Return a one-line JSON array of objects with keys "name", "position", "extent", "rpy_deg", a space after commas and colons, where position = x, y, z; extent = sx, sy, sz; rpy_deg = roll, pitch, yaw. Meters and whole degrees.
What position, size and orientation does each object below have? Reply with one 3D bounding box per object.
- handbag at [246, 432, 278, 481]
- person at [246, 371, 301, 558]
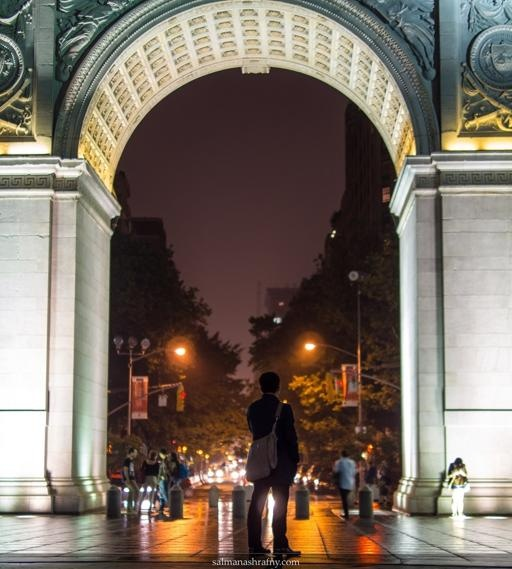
[{"name": "handbag", "position": [0.079, 2.158, 12.275], "extent": [0.187, 0.520, 0.548], "rpy_deg": [24, -26, -33]}, {"name": "person", "position": [0.200, 2.295, 12.566], "extent": [0.677, 2.380, 0.968], "rpy_deg": [-2, -8, 0]}]
